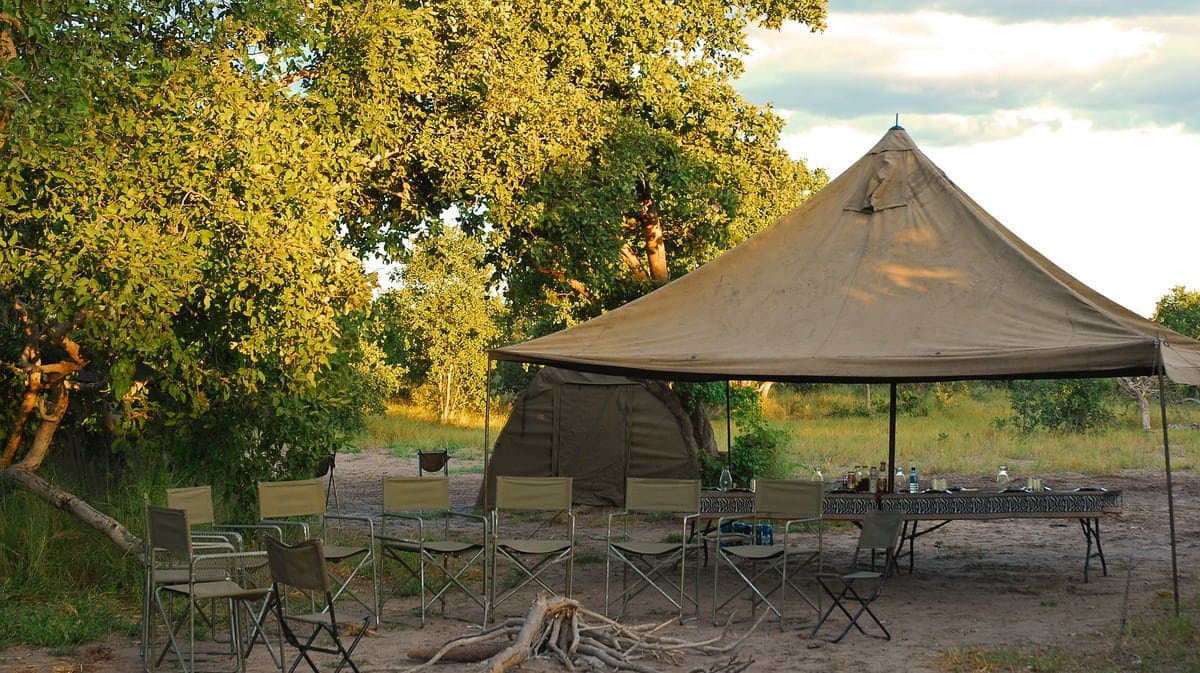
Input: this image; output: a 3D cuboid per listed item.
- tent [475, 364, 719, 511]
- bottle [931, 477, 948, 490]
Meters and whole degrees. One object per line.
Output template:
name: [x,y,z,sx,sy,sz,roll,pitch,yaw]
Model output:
tent: [0.002,1.943,28.329,3.183,2.086,3.154,1,-7,4]
bottle: [5.511,2.411,23.303,0.298,0.284,0.236,5,-5,-39]
